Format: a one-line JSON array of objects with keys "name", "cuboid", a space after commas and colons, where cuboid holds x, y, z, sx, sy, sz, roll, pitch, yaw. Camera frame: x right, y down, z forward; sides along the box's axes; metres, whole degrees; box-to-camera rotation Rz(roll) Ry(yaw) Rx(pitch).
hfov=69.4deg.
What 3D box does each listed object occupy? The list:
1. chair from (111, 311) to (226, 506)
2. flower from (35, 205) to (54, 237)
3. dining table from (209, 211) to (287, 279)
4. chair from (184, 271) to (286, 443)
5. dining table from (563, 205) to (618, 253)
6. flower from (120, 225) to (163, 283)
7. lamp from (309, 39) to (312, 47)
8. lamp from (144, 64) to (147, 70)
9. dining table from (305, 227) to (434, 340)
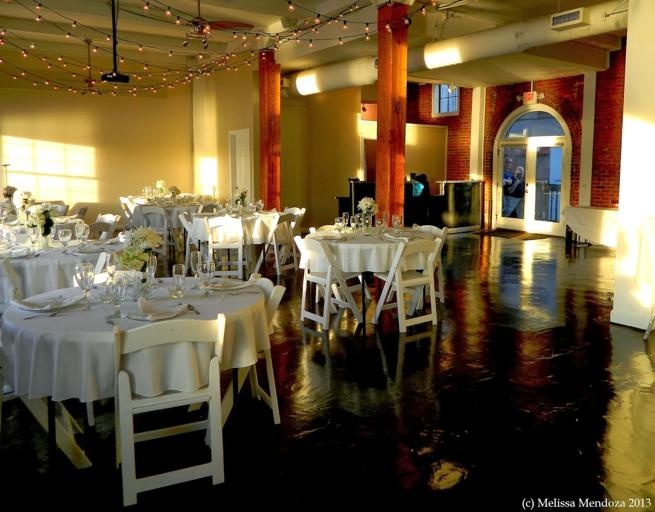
[{"name": "chair", "cuboid": [-0.834, 0.780, 2.570, 0.623, 0.973, 0.398, -6, 10, -24]}, {"name": "flower", "cuboid": [-2.859, -0.349, 4.751, 0.154, 0.320, 0.272, -7, 10, -29]}, {"name": "dining table", "cuboid": [-1.285, -0.166, 7.625, 1.209, 0.810, 1.166, -1, 6, -3]}, {"name": "chair", "cuboid": [-0.505, 0.612, 3.417, 0.962, 1.184, 0.901, -1, 3, -29]}, {"name": "dining table", "cuboid": [5.568, -0.572, 9.918, 1.138, 0.728, 0.699, -5, 11, -34]}, {"name": "flower", "cuboid": [-1.205, -0.025, 3.002, 0.247, 0.317, 0.362, -6, 9, -23]}, {"name": "lamp", "cuboid": [-0.331, -4.298, 9.472, 0.040, 0.103, 0.151, -6, 9, -25]}, {"name": "lamp", "cuboid": [-5.249, -5.485, 13.566, 0.075, 0.150, 0.088, 2, 8, 27]}, {"name": "dining table", "cuboid": [0.494, 0.252, 5.198, 1.228, 0.754, 1.204, 0, 3, 16]}]
